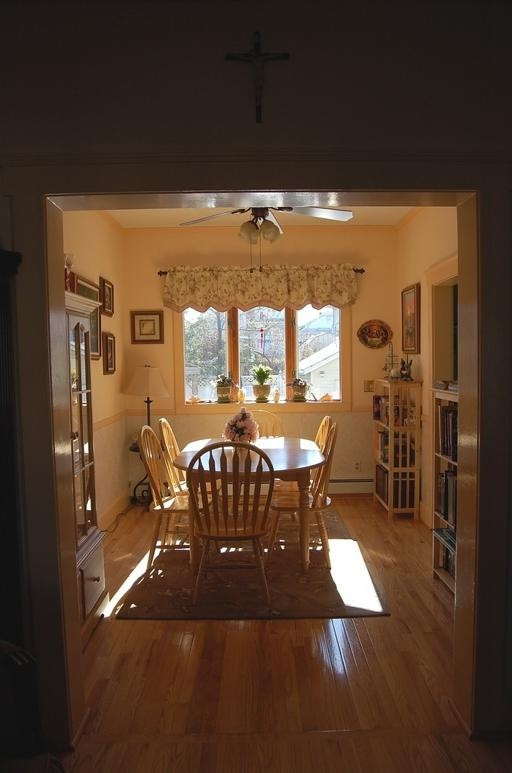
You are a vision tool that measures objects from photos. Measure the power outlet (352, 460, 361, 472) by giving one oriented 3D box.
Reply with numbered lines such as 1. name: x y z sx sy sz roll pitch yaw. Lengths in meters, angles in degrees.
1. power outlet: 0.943 0.744 5.006 0.083 0.179 0.016 0 -1 0

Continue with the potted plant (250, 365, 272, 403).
1. potted plant: 0.051 -0.025 4.972 0.168 0.339 0.288 -1 3 1

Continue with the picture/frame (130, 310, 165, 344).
1. picture/frame: -1.019 -0.569 5.018 0.249 0.309 0.019 0 2 -3

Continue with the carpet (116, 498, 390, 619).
1. carpet: -0.031 0.984 3.295 1.457 0.302 1.299 -1 3 2

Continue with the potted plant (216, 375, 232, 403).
1. potted plant: -0.298 0.023 4.946 0.202 0.251 0.200 0 -2 -8

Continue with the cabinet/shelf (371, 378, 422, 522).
1. cabinet/shelf: 1.180 0.535 4.419 0.289 1.493 1.024 0 1 2

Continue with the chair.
1. chair: -0.120 0.627 3.173 0.840 0.713 1.098 -1 -3 2

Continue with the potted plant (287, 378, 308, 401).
1. potted plant: 0.381 0.054 5.017 0.178 0.284 0.185 0 -16 1
